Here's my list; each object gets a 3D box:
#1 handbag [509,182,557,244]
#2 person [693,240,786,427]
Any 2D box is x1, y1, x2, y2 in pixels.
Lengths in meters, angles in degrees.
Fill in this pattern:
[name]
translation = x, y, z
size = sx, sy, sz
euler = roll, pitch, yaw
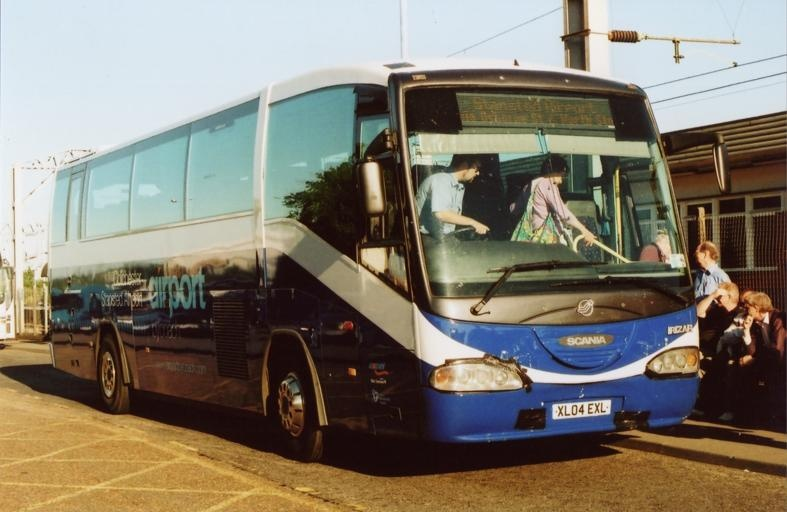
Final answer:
[handbag]
translation = 1.542, -0.457, 7.723
size = 0.615, 0.767, 0.392
euler = 2, 7, 4
[person]
translation = 5.110, 1.382, 10.192
size = 0.769, 2.200, 1.350
euler = -3, 3, -18
